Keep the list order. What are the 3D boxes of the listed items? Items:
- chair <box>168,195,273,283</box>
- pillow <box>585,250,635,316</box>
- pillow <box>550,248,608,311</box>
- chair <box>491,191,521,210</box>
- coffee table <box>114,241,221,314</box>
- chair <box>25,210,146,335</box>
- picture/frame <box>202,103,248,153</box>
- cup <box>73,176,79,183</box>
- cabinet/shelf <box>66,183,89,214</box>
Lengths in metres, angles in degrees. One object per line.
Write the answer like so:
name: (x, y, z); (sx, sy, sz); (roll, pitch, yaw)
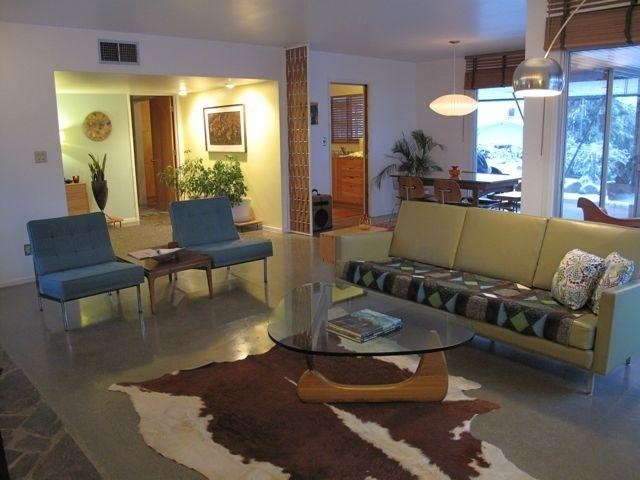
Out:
chair: (-1.170, 0.036, 5.665); (1.189, 0.945, 1.222); (4, 13, -1)
pillow: (2.122, 0.330, 3.477); (0.132, 0.410, 0.424); (14, 21, 7)
pillow: (1.902, 0.288, 3.555); (0.172, 0.408, 0.387); (21, 11, -25)
chair: (3.142, -0.662, 7.907); (0.339, 0.254, 0.503); (-18, 21, -36)
coffee table: (-1.556, 0.218, 5.112); (0.691, 0.520, 0.982); (-7, 10, -37)
chair: (-2.375, 0.243, 4.828); (0.868, 0.880, 0.846); (20, 22, 41)
picture/frame: (-1.741, -2.129, 8.944); (0.036, 0.784, 1.012); (-13, 16, -43)
cup: (-4.415, -1.105, 8.614); (0.111, 0.125, 0.111); (0, 3, 0)
cabinet/shelf: (-4.339, -0.752, 8.515); (0.350, 0.531, 0.244); (-10, 15, -34)
